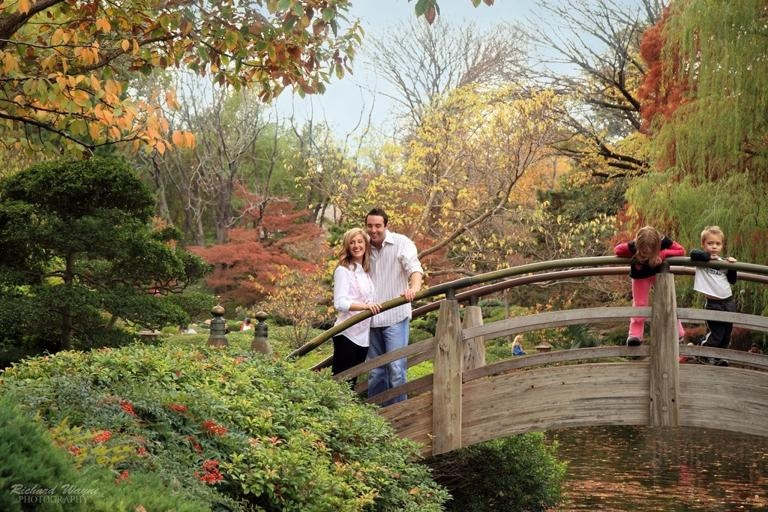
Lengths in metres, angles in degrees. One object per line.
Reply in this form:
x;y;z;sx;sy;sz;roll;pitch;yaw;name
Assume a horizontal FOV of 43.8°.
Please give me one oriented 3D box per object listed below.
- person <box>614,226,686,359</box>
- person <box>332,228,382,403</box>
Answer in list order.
3.557;0.391;12.770;0.871;1.685;0.803;-1;-10;13;person
-0.378;0.684;12.880;0.606;2.068;0.629;2;-10;-7;person
